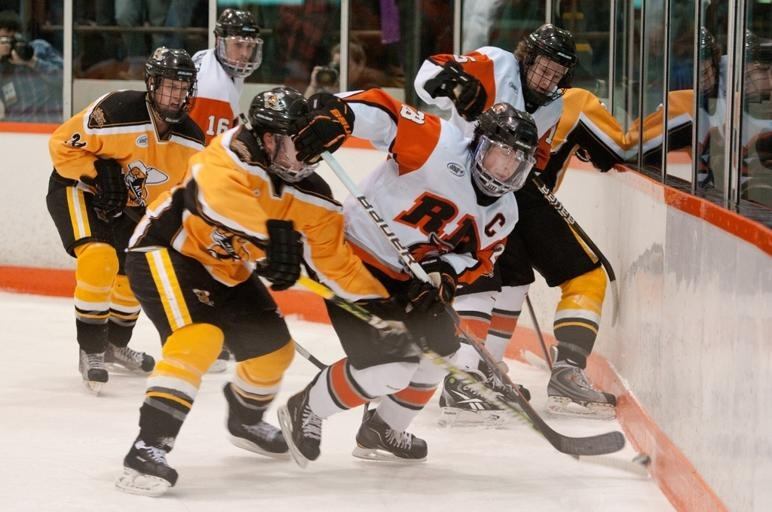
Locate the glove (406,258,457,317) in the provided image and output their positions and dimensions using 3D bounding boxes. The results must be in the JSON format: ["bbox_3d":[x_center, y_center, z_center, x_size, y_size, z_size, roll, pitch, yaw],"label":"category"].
[{"bbox_3d":[0.199,0.133,3.785,0.169,0.238,0.099,44,-28,-5],"label":"glove"}]

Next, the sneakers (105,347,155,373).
[{"bbox_3d":[-1.478,0.598,4.998,0.316,0.150,0.106,6,39,-15],"label":"sneakers"}]

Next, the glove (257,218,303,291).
[{"bbox_3d":[-0.419,-0.008,3.564,0.205,0.265,0.079,9,4,-8],"label":"glove"}]

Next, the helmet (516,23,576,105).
[{"bbox_3d":[0.826,-0.950,4.460,0.279,0.415,0.136,2,12,7],"label":"helmet"}]

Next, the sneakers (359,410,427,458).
[{"bbox_3d":[0.078,0.815,4.023,0.404,0.259,0.142,1,5,-3],"label":"sneakers"}]

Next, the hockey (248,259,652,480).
[{"bbox_3d":[0.341,0.543,4.096,1.454,0.164,0.212,31,40,12],"label":"hockey"}]

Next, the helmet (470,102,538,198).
[{"bbox_3d":[0.499,-0.440,3.737,0.242,0.399,0.196,-6,14,-32],"label":"helmet"}]

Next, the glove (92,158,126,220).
[{"bbox_3d":[-1.456,-0.355,4.600,0.162,0.298,0.082,-4,17,-14],"label":"glove"}]

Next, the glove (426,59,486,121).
[{"bbox_3d":[0.372,-0.838,4.336,0.313,0.224,0.146,50,31,8],"label":"glove"}]
